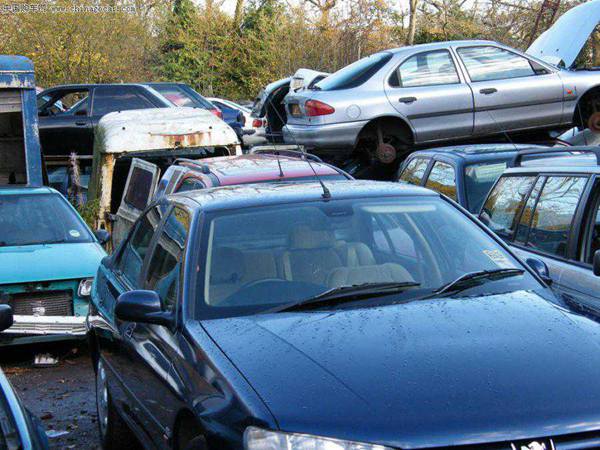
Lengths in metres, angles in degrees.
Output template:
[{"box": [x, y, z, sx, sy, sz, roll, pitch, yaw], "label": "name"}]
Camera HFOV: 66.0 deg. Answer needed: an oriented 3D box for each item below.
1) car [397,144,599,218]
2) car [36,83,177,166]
[{"box": [2.339, -0.709, 6.943, 1.279, 0.833, 1.986, -3, 0, -18], "label": "car"}, {"box": [-6.610, -3.217, 14.709, 4.709, 1.540, 2.457, 1, 6, -4], "label": "car"}]
